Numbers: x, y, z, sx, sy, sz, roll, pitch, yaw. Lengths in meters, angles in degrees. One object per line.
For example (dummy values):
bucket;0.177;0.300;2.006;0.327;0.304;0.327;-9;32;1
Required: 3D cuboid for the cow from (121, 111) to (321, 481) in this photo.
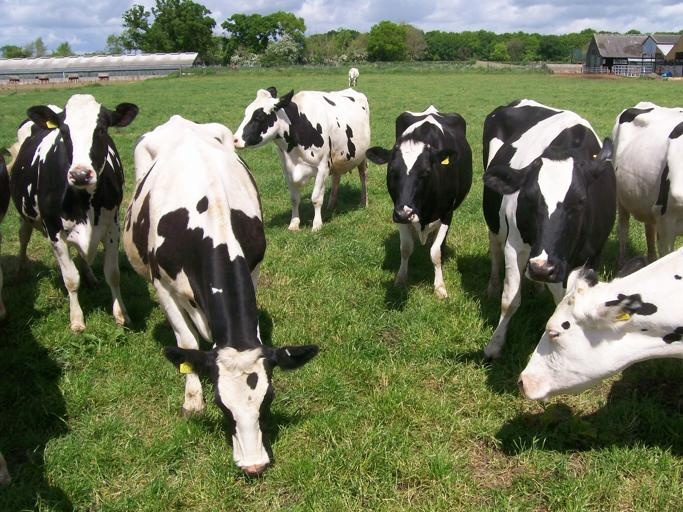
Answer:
cow;-1.679;-0.072;7.544;1.419;2.538;4.850;-3;48;-21
